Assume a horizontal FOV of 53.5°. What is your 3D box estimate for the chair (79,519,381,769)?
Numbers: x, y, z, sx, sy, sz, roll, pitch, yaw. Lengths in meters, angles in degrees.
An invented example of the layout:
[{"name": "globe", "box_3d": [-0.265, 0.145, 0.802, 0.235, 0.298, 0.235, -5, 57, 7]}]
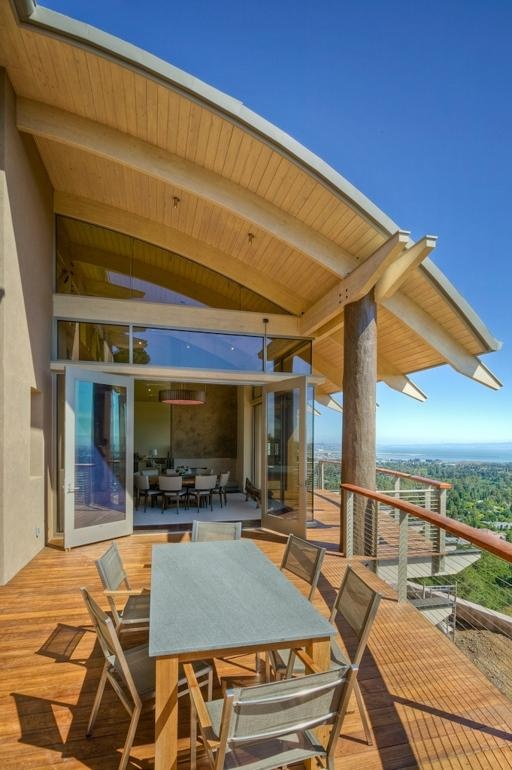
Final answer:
[{"name": "chair", "box_3d": [0.090, 1.222, 2.921, 1.166, 0.695, 1.264, 0, 1, -7]}]
